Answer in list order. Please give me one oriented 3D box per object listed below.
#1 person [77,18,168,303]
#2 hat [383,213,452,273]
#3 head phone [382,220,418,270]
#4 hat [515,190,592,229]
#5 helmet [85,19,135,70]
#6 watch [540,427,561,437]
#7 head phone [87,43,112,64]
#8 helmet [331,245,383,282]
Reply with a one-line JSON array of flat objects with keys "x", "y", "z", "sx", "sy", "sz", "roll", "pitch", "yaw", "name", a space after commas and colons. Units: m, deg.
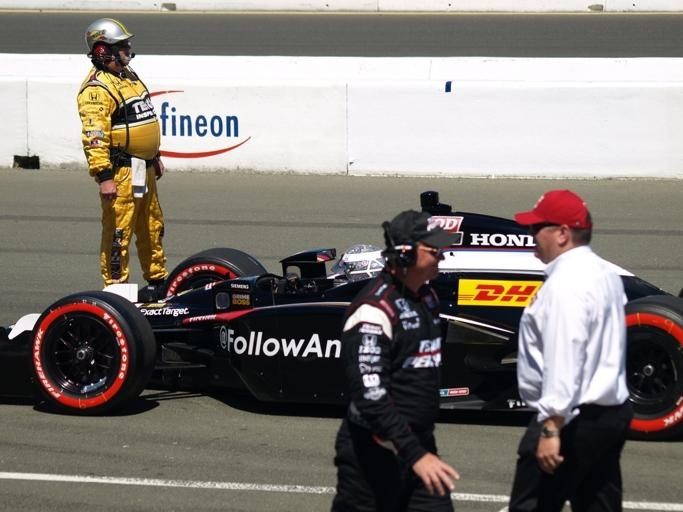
[{"x": -2.239, "y": -0.933, "z": 15.030, "sx": 0.811, "sy": 2.931, "sz": 1.275, "roll": 5, "pitch": 17, "yaw": 25, "name": "person"}, {"x": 0.650, "y": -0.189, "z": 11.356, "sx": 0.742, "sy": 0.412, "sz": 0.463, "roll": -1, "pitch": 15, "yaw": 28, "name": "hat"}, {"x": 0.443, "y": -0.091, "z": 11.241, "sx": 0.235, "sy": 0.356, "sz": 0.263, "roll": 8, "pitch": 13, "yaw": 24, "name": "head phone"}, {"x": 1.732, "y": -0.345, "z": 11.445, "sx": 0.639, "sy": 0.273, "sz": 0.410, "roll": 8, "pitch": -4, "yaw": 14, "name": "hat"}, {"x": -2.426, "y": -2.221, "z": 14.734, "sx": 0.542, "sy": 0.460, "sz": 0.390, "roll": 2, "pitch": 14, "yaw": 2, "name": "helmet"}, {"x": 1.634, "y": 1.399, "z": 11.132, "sx": 0.102, "sy": 0.049, "sz": 0.086, "roll": 17, "pitch": -9, "yaw": -2, "name": "watch"}, {"x": -2.495, "y": -2.084, "z": 14.596, "sx": 0.229, "sy": 0.161, "sz": 0.185, "roll": 2, "pitch": -6, "yaw": 18, "name": "head phone"}, {"x": 0.189, "y": 0.048, "z": 13.772, "sx": 0.628, "sy": 0.289, "sz": 0.413, "roll": 0, "pitch": 12, "yaw": 21, "name": "helmet"}]
